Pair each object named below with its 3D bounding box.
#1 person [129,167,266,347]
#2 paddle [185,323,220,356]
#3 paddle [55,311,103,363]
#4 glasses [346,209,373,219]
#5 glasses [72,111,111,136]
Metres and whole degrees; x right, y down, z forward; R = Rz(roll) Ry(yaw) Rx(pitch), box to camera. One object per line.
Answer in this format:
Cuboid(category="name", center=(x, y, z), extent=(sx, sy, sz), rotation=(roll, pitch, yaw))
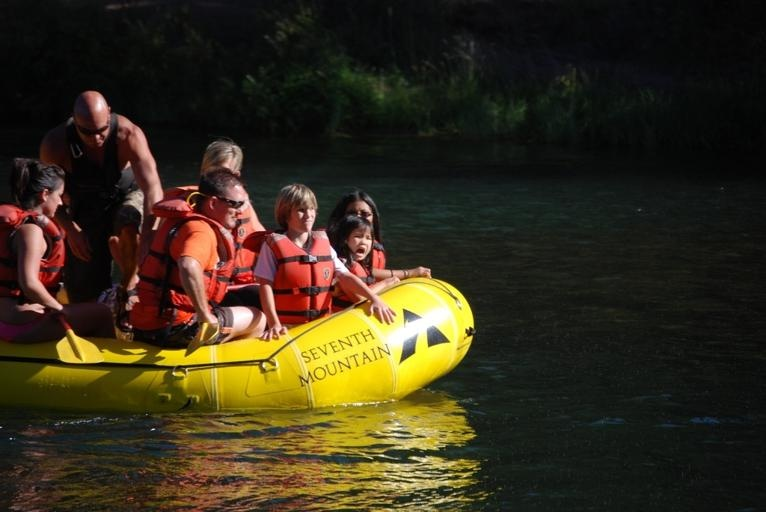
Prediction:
Cuboid(category="person", center=(-1.483, 0.042, 7.568), extent=(1.069, 1.448, 0.516), rotation=(-1, 5, -12))
Cuboid(category="paddle", center=(-1.442, 0.665, 7.569), extent=(0.138, 0.377, 0.141), rotation=(50, 25, 22))
Cuboid(category="paddle", center=(-2.556, 0.651, 7.785), extent=(0.322, 0.077, 0.788), rotation=(0, 32, -33))
Cuboid(category="glasses", center=(-0.209, -0.377, 8.426), extent=(0.132, 0.111, 0.036), rotation=(4, 37, 1))
Cuboid(category="glasses", center=(-2.483, -1.126, 8.120), extent=(0.262, 0.188, 0.141), rotation=(-2, 5, -24))
